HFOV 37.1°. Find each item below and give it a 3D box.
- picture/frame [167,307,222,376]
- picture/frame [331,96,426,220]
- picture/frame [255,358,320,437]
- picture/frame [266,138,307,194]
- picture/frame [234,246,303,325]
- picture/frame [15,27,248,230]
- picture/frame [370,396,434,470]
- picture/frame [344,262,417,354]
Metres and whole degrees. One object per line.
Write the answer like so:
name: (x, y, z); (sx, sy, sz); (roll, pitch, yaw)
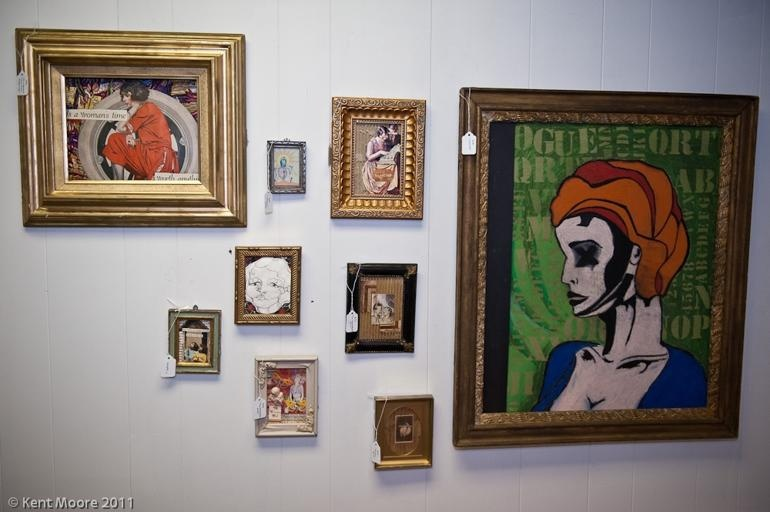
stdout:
picture/frame: (-0.779, 0.339, 4.665); (0.257, 0.325, 0.027); (0, 0, -3)
picture/frame: (-0.040, -0.418, 4.667); (0.466, 0.583, 0.040); (0, 0, -4)
picture/frame: (-0.408, 0.566, 4.679); (0.301, 0.375, 0.042); (0, 0, -5)
picture/frame: (-0.404, -0.370, 4.650); (0.206, 0.283, 0.036); (0, 3, -6)
picture/frame: (-0.485, 0.105, 4.666); (0.294, 0.368, 0.029); (1, 0, -3)
picture/frame: (-1.050, -0.544, 4.627); (0.757, 0.697, 0.054); (-1, 2, -8)
picture/frame: (0.057, 0.710, 4.700); (0.277, 0.342, 0.038); (1, 1, -5)
picture/frame: (-0.029, 0.194, 4.692); (0.345, 0.460, 0.035); (0, 1, -1)
